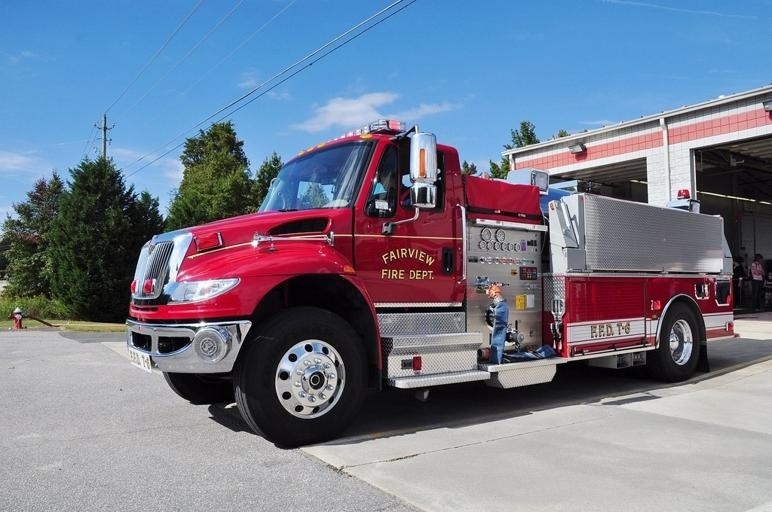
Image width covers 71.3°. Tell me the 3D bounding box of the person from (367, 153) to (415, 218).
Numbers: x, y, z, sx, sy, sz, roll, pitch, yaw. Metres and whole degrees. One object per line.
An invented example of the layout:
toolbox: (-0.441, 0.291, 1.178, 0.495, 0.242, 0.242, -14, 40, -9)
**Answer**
person: (-0.012, -1.005, 7.055, 0.508, 0.132, 1.289, 3, -33, -3)
